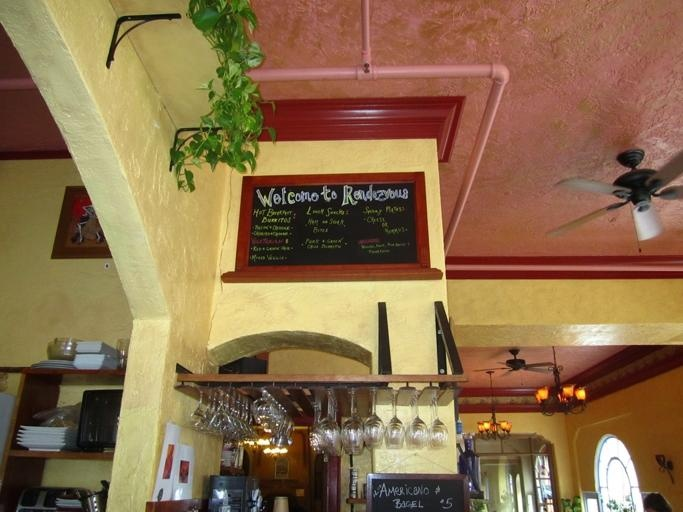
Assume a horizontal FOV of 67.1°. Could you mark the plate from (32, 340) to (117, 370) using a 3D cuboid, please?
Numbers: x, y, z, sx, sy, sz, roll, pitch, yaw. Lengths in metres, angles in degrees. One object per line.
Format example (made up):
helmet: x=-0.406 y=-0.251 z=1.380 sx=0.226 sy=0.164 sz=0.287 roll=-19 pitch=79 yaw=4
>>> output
plate: x=-1.845 y=0.713 z=3.679 sx=0.293 sy=0.126 sz=0.385 roll=6 pitch=-6 yaw=-40

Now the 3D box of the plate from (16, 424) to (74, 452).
plate: x=-2.010 y=1.229 z=3.515 sx=0.261 sy=0.100 sz=0.211 roll=3 pitch=-16 yaw=-5

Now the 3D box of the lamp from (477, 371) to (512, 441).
lamp: x=3.334 y=3.428 z=11.503 sx=0.675 sy=1.284 sz=3.373 roll=-5 pitch=-26 yaw=13

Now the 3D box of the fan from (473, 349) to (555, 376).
fan: x=3.071 y=1.937 z=9.108 sx=1.046 sy=0.243 sz=0.879 roll=8 pitch=-19 yaw=-15
